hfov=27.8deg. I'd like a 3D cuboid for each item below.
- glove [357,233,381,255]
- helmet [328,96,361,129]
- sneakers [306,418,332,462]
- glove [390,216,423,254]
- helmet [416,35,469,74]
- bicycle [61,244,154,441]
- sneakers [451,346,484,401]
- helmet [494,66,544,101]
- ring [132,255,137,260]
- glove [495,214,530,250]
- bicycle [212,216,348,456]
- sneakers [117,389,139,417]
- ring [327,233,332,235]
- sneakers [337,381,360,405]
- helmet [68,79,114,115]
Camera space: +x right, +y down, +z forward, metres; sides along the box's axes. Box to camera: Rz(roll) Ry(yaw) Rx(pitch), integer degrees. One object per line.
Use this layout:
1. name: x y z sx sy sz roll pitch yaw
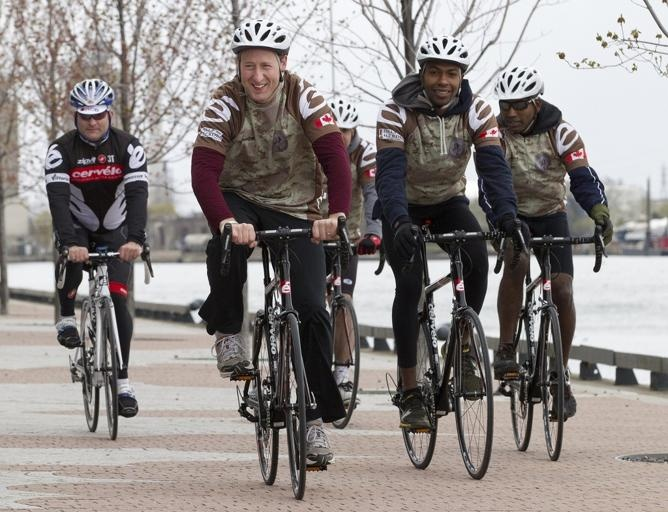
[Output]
1. glove: 0.367 -0.124 13.612 0.172 0.084 0.236 8 14 37
2. helmet: 0.116 -1.537 13.949 0.298 0.152 0.421 -10 -31 -34
3. sneakers: -0.119 1.475 10.581 0.199 0.344 0.243 -2 0 -1
4. glove: 0.596 -0.161 11.105 0.214 0.308 0.290 -2 0 2
5. helmet: 0.933 -1.754 11.485 0.460 0.289 0.632 8 -3 -5
6. bicycle: -2.213 0.807 12.642 0.451 1.834 1.053 -2 0 -11
7. sneakers: 1.105 0.914 11.206 0.222 0.283 0.664 -5 20 1
8. helmet: 1.712 -1.642 12.609 0.417 0.269 0.581 -3 14 23
9. ring: -1.833 0.009 12.368 0.038 0.027 0.065 -2 -4 -3
10. glove: 1.556 -0.199 11.423 0.268 0.353 0.148 8 41 35
11. bicycle: -0.436 0.677 10.543 1.005 1.951 0.869 -2 0 -6
12. sneakers: -1.891 1.375 12.397 0.143 0.250 0.271 -2 0 30
13. ring: -0.030 -0.171 10.198 0.040 0.025 0.037 -2 0 0
14. sneakers: 0.145 1.366 13.407 0.156 0.200 0.461 3 -9 -21
15. helmet: -2.301 -1.581 12.819 0.457 0.276 0.615 -8 14 -13
